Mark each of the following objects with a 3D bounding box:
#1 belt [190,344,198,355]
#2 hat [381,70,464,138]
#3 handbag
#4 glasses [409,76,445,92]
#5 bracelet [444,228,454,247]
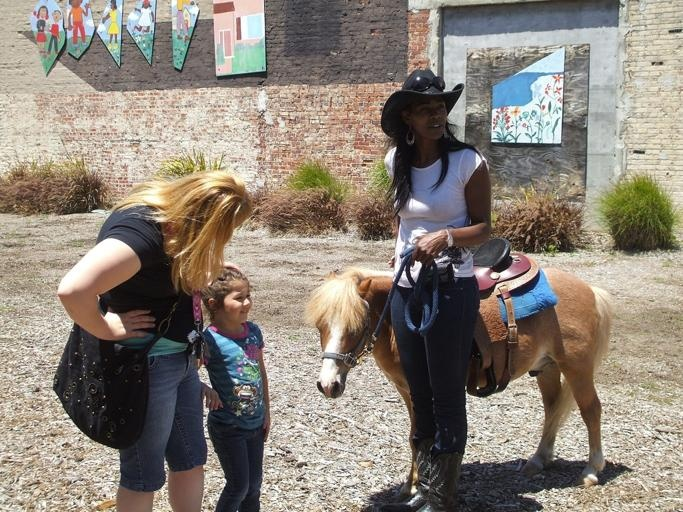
[{"bbox_3d":[-1.204,0.759,7.195,0.052,0.079,0.021,5,27,5],"label":"belt"},{"bbox_3d":[0.701,-1.454,7.723,0.643,0.350,0.791,-8,-5,-12],"label":"hat"},{"bbox_3d":[-1.846,1.043,7.106,0.921,0.955,0.265,29,18,23],"label":"handbag"},{"bbox_3d":[0.736,-1.467,7.530,0.302,0.132,0.140,-1,10,-11],"label":"glasses"},{"bbox_3d":[0.889,-0.153,7.389,0.055,0.122,0.089,-3,0,-15],"label":"bracelet"}]
